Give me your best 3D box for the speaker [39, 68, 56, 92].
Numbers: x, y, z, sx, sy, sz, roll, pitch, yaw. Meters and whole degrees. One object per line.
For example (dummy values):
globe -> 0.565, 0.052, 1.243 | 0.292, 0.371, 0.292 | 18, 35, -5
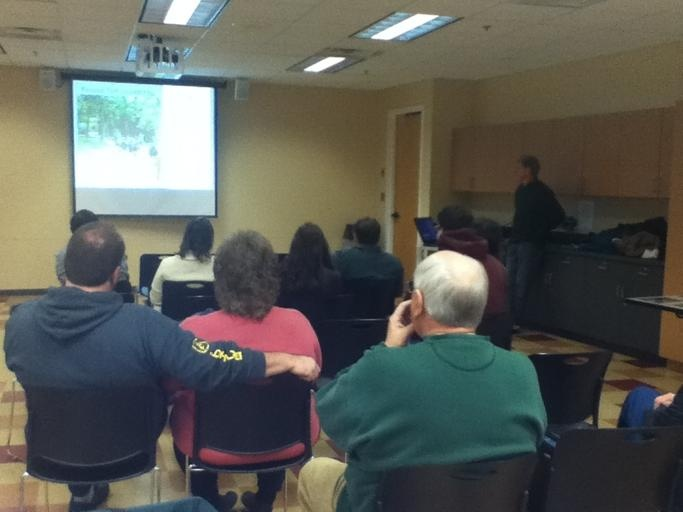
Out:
speaker -> -3.558, -2.154, 7.255 | 0.202, 0.229, 0.066 | -4, 10, -10

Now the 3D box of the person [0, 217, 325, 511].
person -> -0.675, 0.276, 2.666 | 1.384, 1.229, 0.864 | 4, 19, 2

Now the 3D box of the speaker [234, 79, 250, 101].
speaker -> -1.348, -2.245, 8.059 | 0.217, 0.252, 0.305 | 0, 8, -9

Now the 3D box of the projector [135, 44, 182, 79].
projector -> -1.844, -1.982, 6.057 | 0.425, 0.264, 0.446 | -2, 9, -20
